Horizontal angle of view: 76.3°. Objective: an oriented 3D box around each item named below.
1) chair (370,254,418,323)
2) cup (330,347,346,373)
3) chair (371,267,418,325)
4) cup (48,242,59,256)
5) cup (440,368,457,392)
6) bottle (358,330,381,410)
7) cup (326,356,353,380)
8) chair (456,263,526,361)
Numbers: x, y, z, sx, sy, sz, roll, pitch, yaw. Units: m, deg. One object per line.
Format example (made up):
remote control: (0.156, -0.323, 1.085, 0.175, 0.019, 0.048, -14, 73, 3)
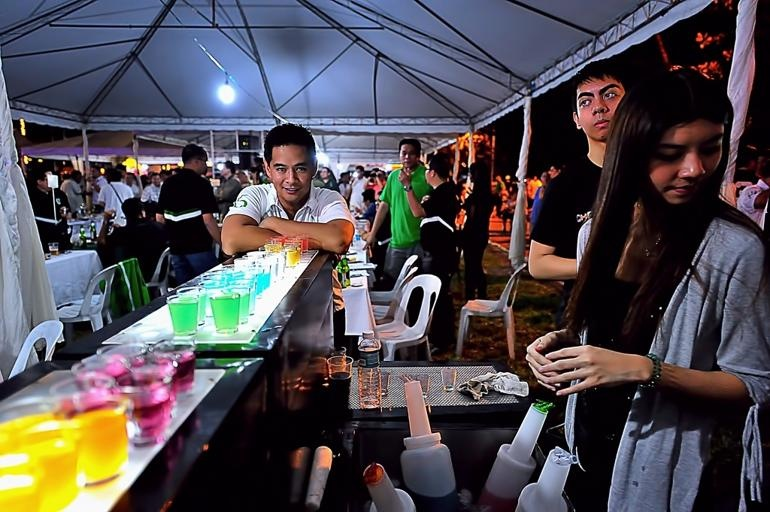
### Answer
chair: (0.054, 0.476, 5.165, 0.510, 0.636, 0.401, 6, -25, 7)
cup: (-0.199, 0.472, 2.180, 0.052, 0.081, 0.083, 1, -1, 0)
chair: (0.062, 0.401, 4.785, 0.554, 0.664, 0.413, 2, 16, -3)
cup: (-3.645, -0.066, 5.388, 0.081, 0.123, 0.206, -7, 11, -39)
cup: (0.301, 0.581, 2.306, 0.059, 0.083, 0.060, -1, 5, 0)
bottle: (-0.065, 0.518, 2.191, 0.109, 0.244, 0.280, 0, 9, -1)
cup: (-0.197, 0.486, 2.120, 0.109, 0.078, 0.193, -1, 9, -6)
chair: (1.071, 0.543, 5.003, 0.704, 0.875, 0.548, 0, 7, 28)
